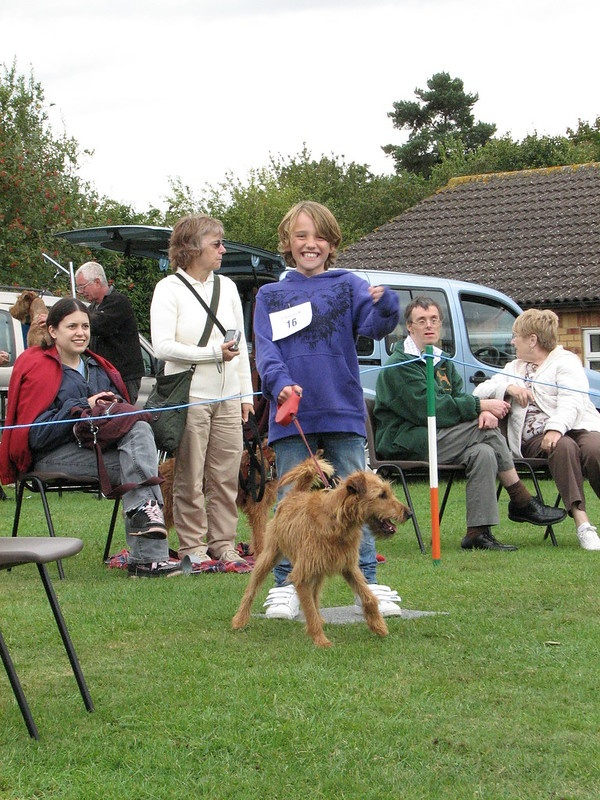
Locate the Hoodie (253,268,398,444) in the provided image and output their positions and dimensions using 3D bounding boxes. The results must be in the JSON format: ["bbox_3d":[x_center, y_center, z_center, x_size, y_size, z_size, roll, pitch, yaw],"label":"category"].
[{"bbox_3d":[0.110,-0.206,4.636,0.655,0.773,0.435,-1,5,4],"label":"Hoodie"}]

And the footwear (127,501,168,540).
[{"bbox_3d":[-0.837,0.650,5.643,0.203,0.213,0.175,-1,5,-1],"label":"footwear"}]

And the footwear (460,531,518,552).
[{"bbox_3d":[1.220,0.919,6.724,0.379,0.155,0.131,-2,-2,12],"label":"footwear"}]

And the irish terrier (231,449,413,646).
[{"bbox_3d":[0.067,0.635,4.335,0.761,0.752,0.356,2,6,38],"label":"irish terrier"}]

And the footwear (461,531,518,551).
[{"bbox_3d":[1.211,0.915,6.695,0.381,0.146,0.131,-2,-2,12],"label":"footwear"}]

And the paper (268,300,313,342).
[{"bbox_3d":[-0.036,-0.349,4.626,0.185,0.125,0.009,-14,-15,38],"label":"paper"}]

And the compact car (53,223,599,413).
[{"bbox_3d":[0.526,-0.723,10.825,5.861,2.540,2.171,-1,5,-16],"label":"compact car"}]

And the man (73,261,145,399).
[{"bbox_3d":[-1.608,-0.424,8.632,0.719,1.387,0.623,-1,1,9],"label":"man"}]

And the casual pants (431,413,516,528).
[{"bbox_3d":[1.154,0.481,6.834,0.450,0.731,0.252,1,-9,-25],"label":"casual pants"}]

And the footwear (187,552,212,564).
[{"bbox_3d":[-0.585,0.935,6.083,0.142,0.058,0.056,0,2,18],"label":"footwear"}]

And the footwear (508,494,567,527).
[{"bbox_3d":[1.566,0.757,6.925,0.353,0.162,0.177,-2,0,12],"label":"footwear"}]

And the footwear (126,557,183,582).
[{"bbox_3d":[-0.827,0.979,5.940,0.301,0.132,0.111,-2,-1,2],"label":"footwear"}]

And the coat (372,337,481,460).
[{"bbox_3d":[0.957,0.051,7.252,0.871,0.853,0.678,-2,-1,28],"label":"coat"}]

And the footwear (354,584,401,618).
[{"bbox_3d":[0.374,0.962,4.888,0.108,0.129,0.312,1,-14,-7],"label":"footwear"}]

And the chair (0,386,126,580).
[{"bbox_3d":[-1.362,0.583,6.484,0.910,1.297,0.825,-8,-11,38],"label":"chair"}]
